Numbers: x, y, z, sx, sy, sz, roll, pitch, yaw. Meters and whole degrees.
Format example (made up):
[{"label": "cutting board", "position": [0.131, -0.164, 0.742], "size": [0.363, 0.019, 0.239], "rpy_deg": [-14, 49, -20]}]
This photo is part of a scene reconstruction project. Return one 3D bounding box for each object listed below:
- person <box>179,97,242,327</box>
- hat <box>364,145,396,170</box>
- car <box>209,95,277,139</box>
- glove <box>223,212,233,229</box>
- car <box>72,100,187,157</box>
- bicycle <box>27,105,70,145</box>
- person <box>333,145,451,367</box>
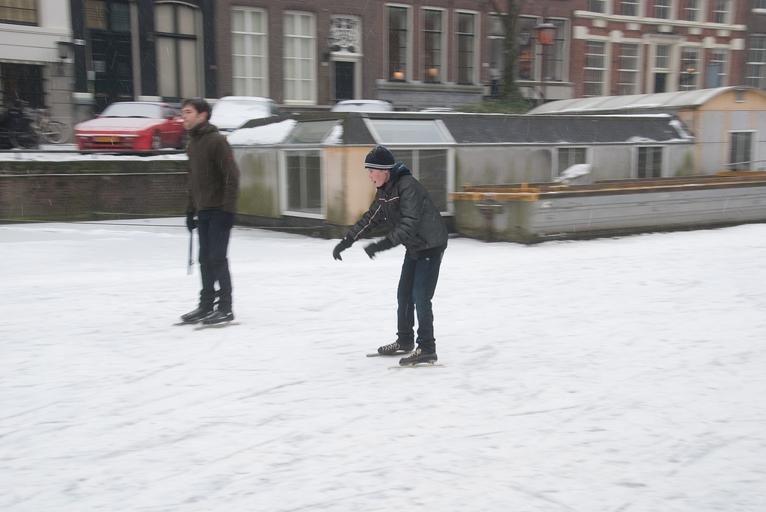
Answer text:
[{"label": "person", "position": [-2.506, -0.627, 16.536], "size": [0.827, 3.248, 0.538], "rpy_deg": [1, 11, 10]}, {"label": "hat", "position": [-0.022, -1.329, 15.374], "size": [0.463, 0.278, 0.278], "rpy_deg": [8, 20, 5]}, {"label": "car", "position": [-3.491, -3.495, 28.181], "size": [1.622, 0.890, 2.282], "rpy_deg": [0, 6, 9]}, {"label": "glove", "position": [-2.209, -0.512, 16.486], "size": [0.097, 0.238, 0.122], "rpy_deg": [6, 12, 31]}, {"label": "car", "position": [-5.819, -2.918, 25.975], "size": [1.761, 1.118, 2.459], "rpy_deg": [2, 9, 15]}, {"label": "bicycle", "position": [-7.985, -3.089, 27.263], "size": [0.852, 0.839, 1.835], "rpy_deg": [-3, 9, -14]}, {"label": "person", "position": [0.233, 0.002, 15.482], "size": [1.233, 2.955, 0.619], "rpy_deg": [0, 11, 2]}]
